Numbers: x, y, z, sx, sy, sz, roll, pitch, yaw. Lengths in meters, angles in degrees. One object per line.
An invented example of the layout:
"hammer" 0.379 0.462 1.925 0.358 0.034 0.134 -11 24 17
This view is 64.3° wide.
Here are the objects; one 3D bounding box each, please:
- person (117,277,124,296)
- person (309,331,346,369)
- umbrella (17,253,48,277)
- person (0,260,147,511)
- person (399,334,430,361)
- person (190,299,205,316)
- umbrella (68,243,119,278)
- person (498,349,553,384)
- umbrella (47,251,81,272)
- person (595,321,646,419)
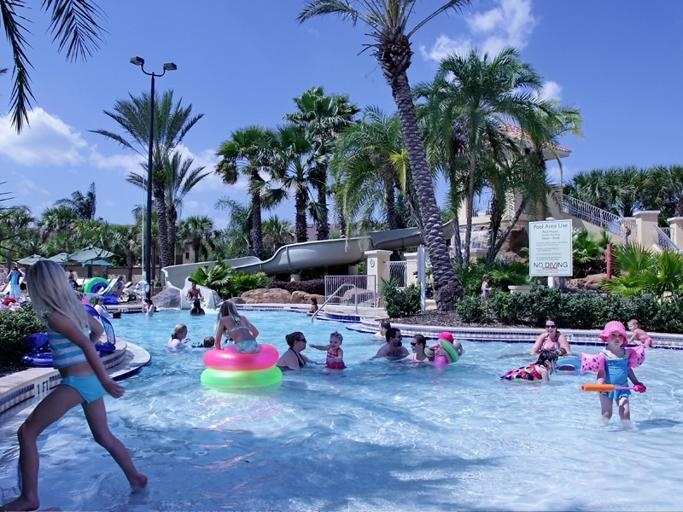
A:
"person" -8.877 1.233 21.731 0.230 0.788 0.301 9 17 -21
"person" -0.174 1.690 9.891 0.462 0.774 0.867 1 4 1
"umbrella" -5.716 0.147 9.913 0.728 0.357 0.706 0 1 -23
"person" -2.336 1.073 4.635 0.995 2.091 0.308 -1 4 -24
"person" 1.439 1.756 10.122 0.696 0.753 0.398 -2 -12 14
"person" -5.276 1.844 19.811 0.525 0.589 0.782 0 4 -15
"umbrella" -15.961 0.224 34.815 2.412 1.293 2.302 0 -4 0
"person" 3.189 1.885 9.149 0.996 0.617 0.380 3 0 -14
"umbrella" -11.651 0.191 22.967 1.464 0.554 1.756 2 0 -11
"person" 3.320 1.420 6.470 0.480 1.320 0.900 3 4 28
